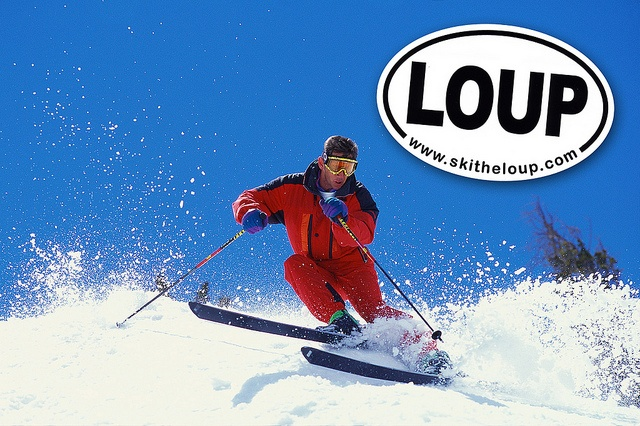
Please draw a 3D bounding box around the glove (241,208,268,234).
[{"bbox_3d":[-0.837,0.084,8.386,0.347,0.312,0.317,-25,4,-7],"label":"glove"}]

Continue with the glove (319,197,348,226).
[{"bbox_3d":[0.182,-0.030,8.312,0.288,0.361,0.150,-24,4,-2],"label":"glove"}]
